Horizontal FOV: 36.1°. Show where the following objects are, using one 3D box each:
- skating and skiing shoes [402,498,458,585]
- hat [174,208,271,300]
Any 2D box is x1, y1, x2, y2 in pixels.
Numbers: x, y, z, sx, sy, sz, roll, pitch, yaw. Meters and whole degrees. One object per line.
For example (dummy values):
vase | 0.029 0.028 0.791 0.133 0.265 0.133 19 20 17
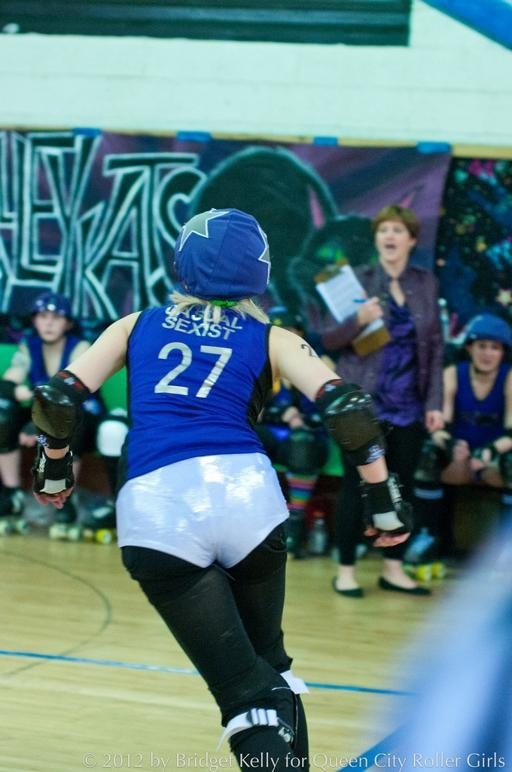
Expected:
skating and skiing shoes | 0.818 0.722 3.727 0.208 0.392 0.274 1 13 17
hat | -0.076 -0.260 1.563 0.203 0.151 0.195 2 29 -7
